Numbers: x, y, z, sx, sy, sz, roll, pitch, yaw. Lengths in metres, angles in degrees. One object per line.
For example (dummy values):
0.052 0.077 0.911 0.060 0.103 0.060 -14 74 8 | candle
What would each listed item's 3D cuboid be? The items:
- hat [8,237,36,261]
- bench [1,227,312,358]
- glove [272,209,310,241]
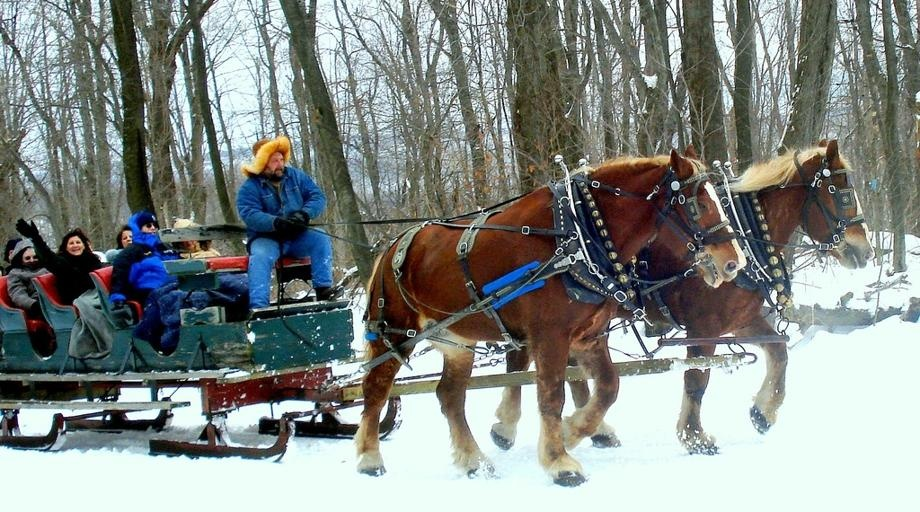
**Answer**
-8.887 -0.111 22.001 0.479 0.416 0.369 -31 -22 31 | hat
-5.768 0.797 20.664 3.961 1.930 2.660 -5 -4 26 | bench
-3.166 -0.590 20.318 0.685 0.219 0.522 -15 -31 43 | glove
